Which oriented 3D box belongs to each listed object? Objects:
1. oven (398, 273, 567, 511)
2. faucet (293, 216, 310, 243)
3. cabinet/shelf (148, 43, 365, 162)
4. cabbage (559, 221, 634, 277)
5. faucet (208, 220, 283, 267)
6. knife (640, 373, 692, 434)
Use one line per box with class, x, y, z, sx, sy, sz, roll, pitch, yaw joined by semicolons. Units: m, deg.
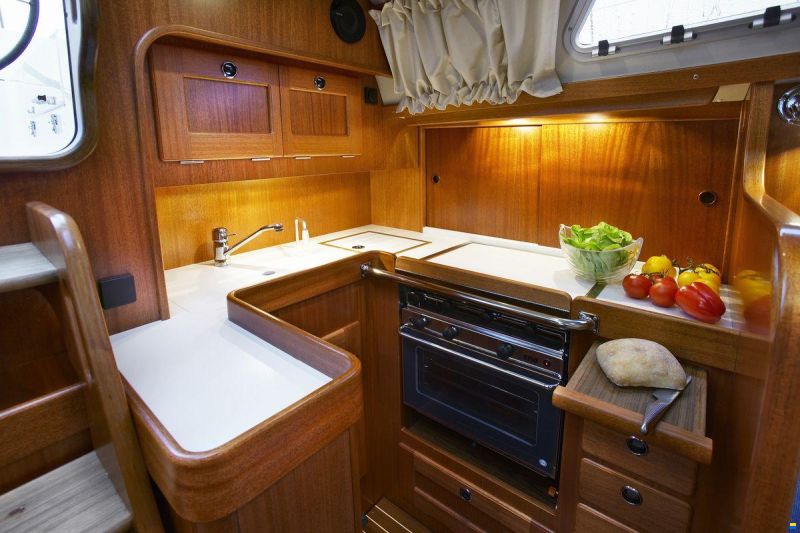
oven;0.483;0.504;2.607;0.677;0.958;0.694;12;20;37
faucet;-0.587;-0.231;3.068;0.092;0.162;0.258;-4;16;-10
cabinet/shelf;-0.729;-0.810;2.506;0.119;0.325;0.759;15;23;38
cabbage;0.896;-0.063;2.342;0.347;0.257;0.210;6;18;25
faucet;-0.844;-0.139;2.821;0.350;0.194;0.278;-9;17;-24
knife;0.914;0.470;1.791;0.377;0.084;0.070;-15;21;-40
